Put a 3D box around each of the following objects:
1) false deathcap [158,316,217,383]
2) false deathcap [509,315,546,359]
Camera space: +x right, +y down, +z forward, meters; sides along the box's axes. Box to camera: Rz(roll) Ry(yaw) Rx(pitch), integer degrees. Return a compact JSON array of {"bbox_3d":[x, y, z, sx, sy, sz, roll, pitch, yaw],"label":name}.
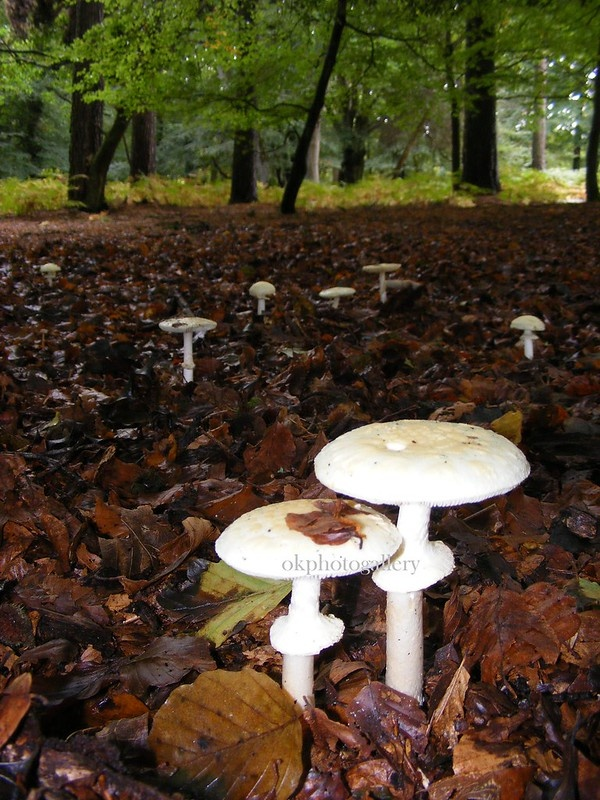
[{"bbox_3d":[-0.755,-0.333,4.652,0.331,0.417,0.506,2,8,5],"label":"false deathcap"},{"bbox_3d":[1.674,-0.470,5.227,0.205,0.304,0.648,3,8,16],"label":"false deathcap"}]
